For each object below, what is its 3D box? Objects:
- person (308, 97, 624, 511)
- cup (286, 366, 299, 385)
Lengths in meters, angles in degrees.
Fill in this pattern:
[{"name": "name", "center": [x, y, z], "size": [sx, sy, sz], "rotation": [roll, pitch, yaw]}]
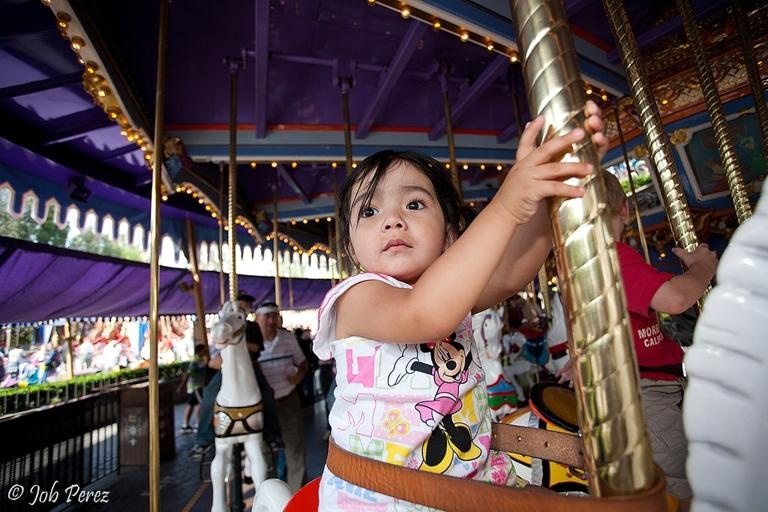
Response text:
[{"name": "person", "center": [0.236, 0.260, 2.008], "size": [1.113, 1.519, 0.521], "rotation": [-5, -4, 22]}, {"name": "cup", "center": [-1.017, 1.337, 5.463], "size": [0.155, 0.175, 0.159], "rotation": [3, -3, 0]}]
